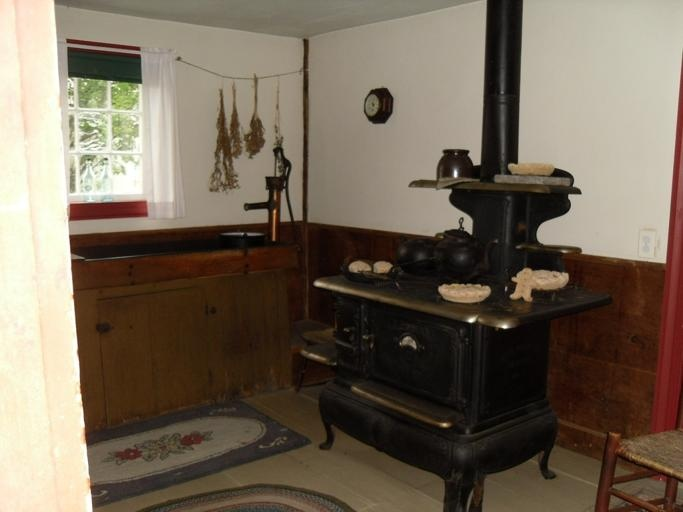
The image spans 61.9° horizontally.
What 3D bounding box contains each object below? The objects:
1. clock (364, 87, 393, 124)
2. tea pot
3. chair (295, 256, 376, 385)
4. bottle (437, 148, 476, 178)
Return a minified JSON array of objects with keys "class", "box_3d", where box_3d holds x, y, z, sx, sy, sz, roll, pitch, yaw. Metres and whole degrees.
[{"class":"clock","box_3d":[0.253,-1.067,4.023,0.086,0.247,0.243,-9,14,-38]},{"class":"tea pot","box_3d":[0.542,-0.019,2.938,0.478,0.270,0.281,6,12,30]},{"class":"chair","box_3d":[-0.061,0.552,3.319,0.363,0.477,0.369,-4,9,-10]},{"class":"bottle","box_3d":[0.604,-0.471,2.967,0.165,0.157,0.161,-4,7,-39]}]
